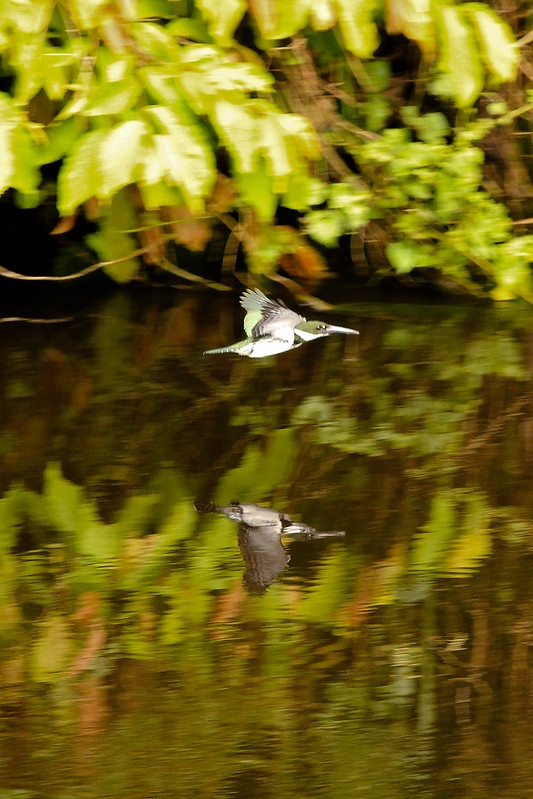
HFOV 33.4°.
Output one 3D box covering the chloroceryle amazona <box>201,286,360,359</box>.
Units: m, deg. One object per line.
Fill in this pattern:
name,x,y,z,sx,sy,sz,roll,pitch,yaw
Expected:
chloroceryle amazona,0.027,-0.149,1.912,0.232,0.059,0.219,7,-5,22
